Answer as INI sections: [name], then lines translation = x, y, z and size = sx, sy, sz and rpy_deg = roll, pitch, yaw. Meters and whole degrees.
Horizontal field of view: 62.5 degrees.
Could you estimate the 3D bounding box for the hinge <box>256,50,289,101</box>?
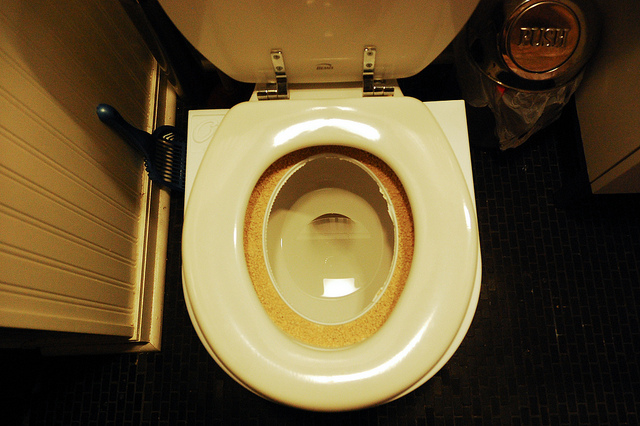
[hinge]
translation = -0.141, -0.378, 1.478
size = 0.088, 0.139, 0.062
rpy_deg = -12, 54, 0
